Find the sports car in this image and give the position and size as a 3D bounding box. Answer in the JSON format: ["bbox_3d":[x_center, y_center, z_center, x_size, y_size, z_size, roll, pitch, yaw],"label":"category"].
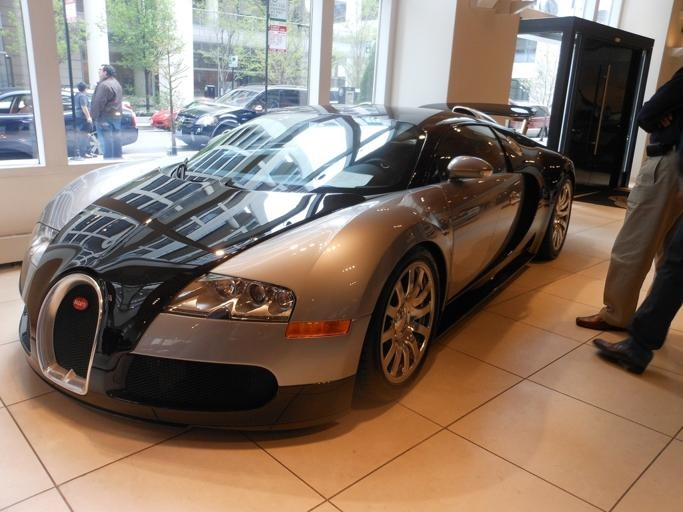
[{"bbox_3d":[0.096,-0.030,2.399,1.580,0.724,2.671,18,25,33],"label":"sports car"}]
